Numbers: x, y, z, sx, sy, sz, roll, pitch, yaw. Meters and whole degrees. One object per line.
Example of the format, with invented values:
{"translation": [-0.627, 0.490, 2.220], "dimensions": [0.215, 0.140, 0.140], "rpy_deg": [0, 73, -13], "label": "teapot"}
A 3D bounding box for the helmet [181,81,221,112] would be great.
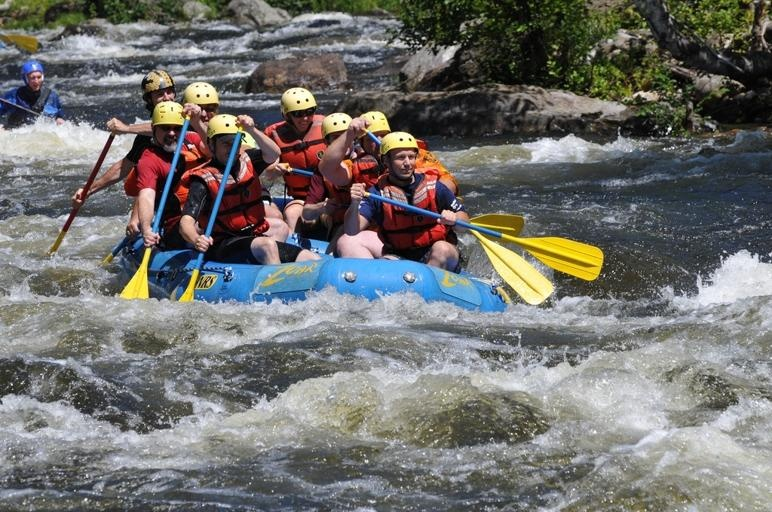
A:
{"translation": [-2.337, -2.014, 13.937], "dimensions": [0.347, 0.305, 0.419], "rpy_deg": [0, 9, -23], "label": "helmet"}

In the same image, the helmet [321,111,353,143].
{"translation": [-0.603, -1.536, 13.448], "dimensions": [0.343, 0.340, 0.475], "rpy_deg": [2, 17, -3], "label": "helmet"}

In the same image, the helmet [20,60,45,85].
{"translation": [-6.222, -3.215, 19.523], "dimensions": [0.306, 0.400, 0.624], "rpy_deg": [-5, 19, -22], "label": "helmet"}

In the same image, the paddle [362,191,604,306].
{"translation": [1.197, -0.161, 13.539], "dimensions": [3.656, 1.037, 0.153], "rpy_deg": [16, -5, -8], "label": "paddle"}

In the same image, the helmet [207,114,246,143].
{"translation": [-1.904, -1.510, 13.100], "dimensions": [0.418, 0.315, 0.259], "rpy_deg": [0, 18, -7], "label": "helmet"}

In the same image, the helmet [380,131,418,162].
{"translation": [0.150, -1.286, 12.960], "dimensions": [0.437, 0.333, 0.256], "rpy_deg": [3, 18, 0], "label": "helmet"}

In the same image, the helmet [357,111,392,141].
{"translation": [-0.142, -1.554, 13.315], "dimensions": [0.313, 0.210, 0.413], "rpy_deg": [-14, 6, -25], "label": "helmet"}

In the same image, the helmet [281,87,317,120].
{"translation": [-1.123, -1.943, 14.044], "dimensions": [0.336, 0.292, 0.404], "rpy_deg": [-7, -20, -26], "label": "helmet"}
